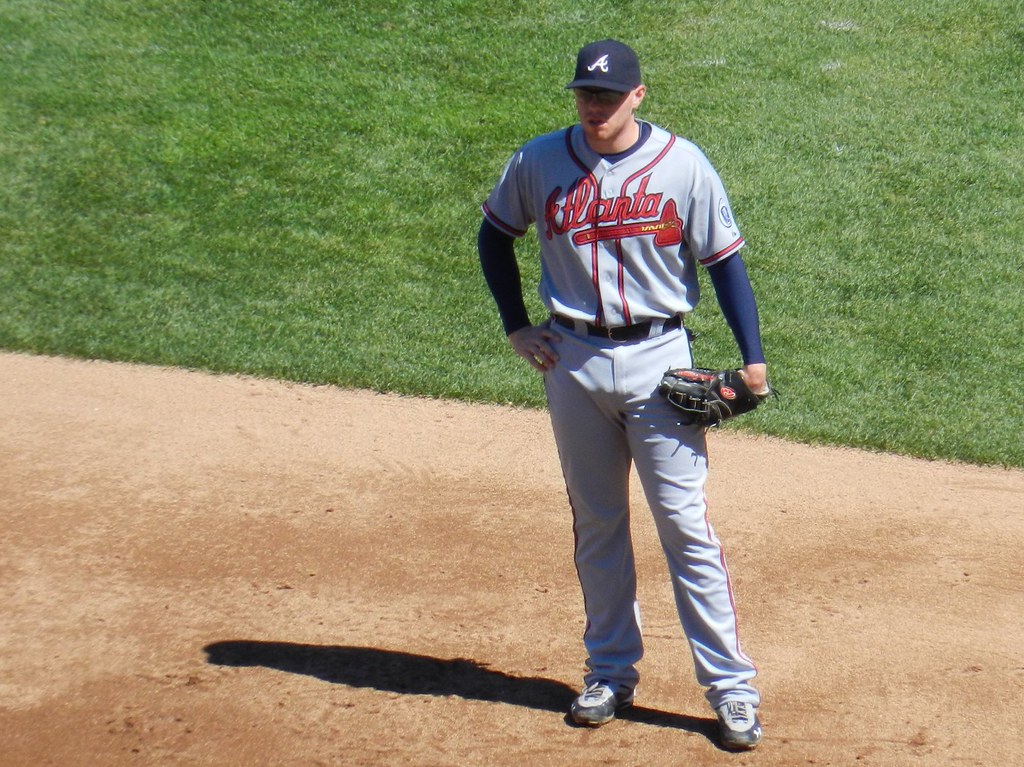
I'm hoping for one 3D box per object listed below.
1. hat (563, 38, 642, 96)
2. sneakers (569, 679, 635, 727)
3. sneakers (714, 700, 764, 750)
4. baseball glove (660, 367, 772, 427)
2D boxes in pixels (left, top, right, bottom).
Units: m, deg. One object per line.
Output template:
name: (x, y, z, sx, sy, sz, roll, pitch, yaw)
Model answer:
hat: (0.465, -1.585, 6.946, 0.346, 0.233, 0.442, 9, 25, 18)
sneakers: (0.457, 1.663, 7.334, 0.164, 0.164, 0.413, 3, 4, 36)
sneakers: (1.183, 1.720, 7.238, 0.214, 0.173, 0.416, -1, 14, 6)
baseball glove: (1.005, 0.028, 7.060, 0.438, 0.300, 0.186, -5, 43, 5)
